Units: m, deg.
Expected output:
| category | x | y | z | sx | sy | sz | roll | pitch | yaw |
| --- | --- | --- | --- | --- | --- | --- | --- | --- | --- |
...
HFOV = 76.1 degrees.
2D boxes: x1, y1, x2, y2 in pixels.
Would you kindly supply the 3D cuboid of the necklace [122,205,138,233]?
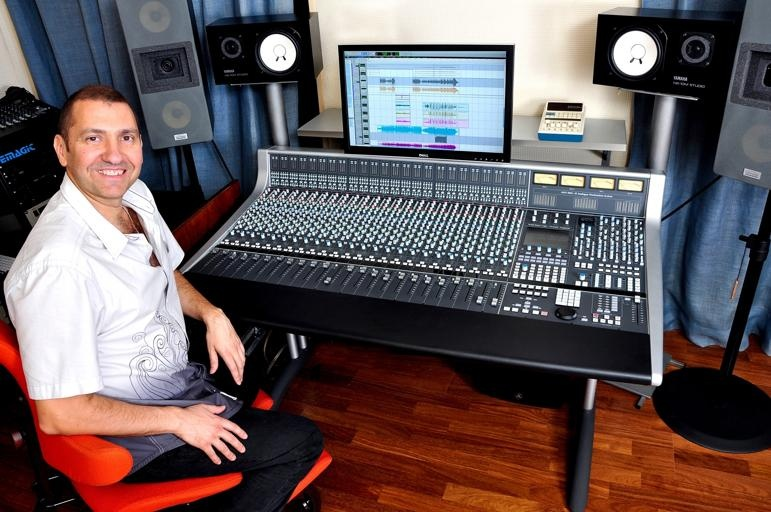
| category | x | y | z | sx | sy | sz | roll | pitch | yaw |
| --- | --- | --- | --- | --- | --- | --- | --- | --- | --- |
| necklace | -1.019 | -0.147 | 1.986 | 0.024 | 0.086 | 0.098 | -6 | 0 | 7 |
